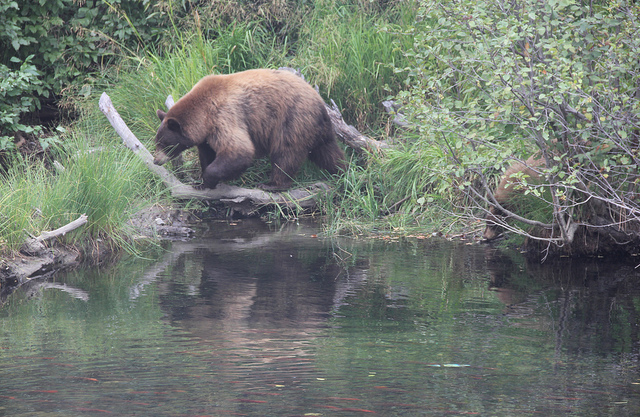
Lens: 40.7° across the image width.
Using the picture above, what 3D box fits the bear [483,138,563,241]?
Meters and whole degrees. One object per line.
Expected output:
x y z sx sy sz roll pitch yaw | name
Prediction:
2.267 -0.154 9.760 0.790 1.317 1.748 2 7 10 | bear

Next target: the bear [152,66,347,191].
-0.929 -1.105 12.171 2.945 1.597 1.238 -7 15 -25 | bear
